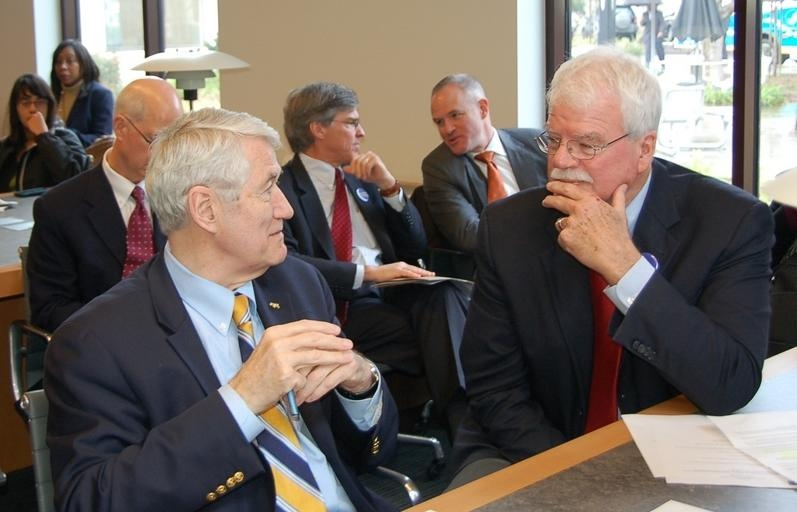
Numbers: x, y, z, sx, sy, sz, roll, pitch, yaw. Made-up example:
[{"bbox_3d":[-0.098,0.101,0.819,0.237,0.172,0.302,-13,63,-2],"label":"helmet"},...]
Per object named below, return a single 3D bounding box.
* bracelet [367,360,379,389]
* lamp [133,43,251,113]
[{"bbox_3d":[-0.068,0.351,1.787,0.040,0.058,0.046,-10,44,1],"label":"bracelet"},{"bbox_3d":[-1.391,-1.230,4.097,0.513,0.518,0.492,0,13,-1],"label":"lamp"}]
